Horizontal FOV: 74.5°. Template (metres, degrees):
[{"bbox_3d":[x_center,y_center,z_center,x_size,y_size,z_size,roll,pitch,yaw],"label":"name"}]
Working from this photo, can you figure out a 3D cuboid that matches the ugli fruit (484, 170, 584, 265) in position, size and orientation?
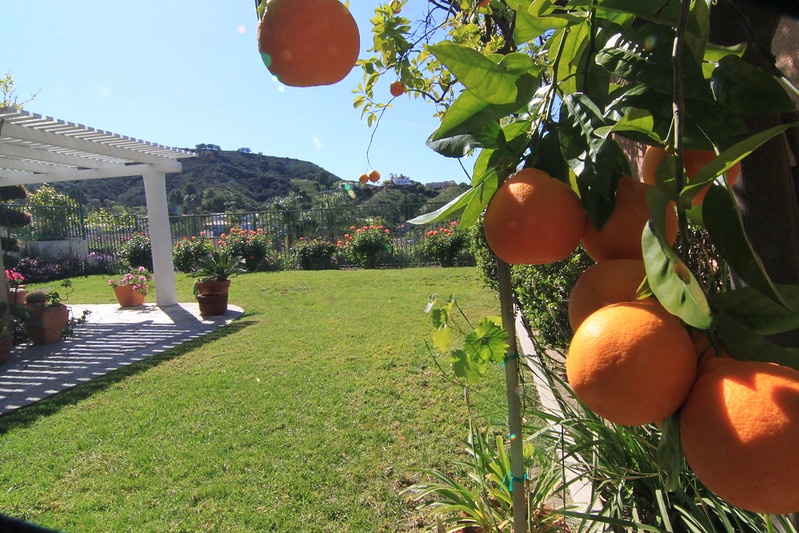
[{"bbox_3d":[0.234,-0.078,0.980,0.157,0.162,0.159,-3,-11,-34],"label":"ugli fruit"}]

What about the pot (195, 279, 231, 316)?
[{"bbox_3d":[-2.887,0.521,8.133,0.516,0.571,0.496,-2,-7,0],"label":"pot"}]

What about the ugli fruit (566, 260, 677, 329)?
[{"bbox_3d":[0.385,0.041,0.946,0.110,0.139,0.117,-2,-26,-14],"label":"ugli fruit"}]

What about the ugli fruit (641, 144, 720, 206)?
[{"bbox_3d":[0.488,-0.166,0.938,0.111,0.089,0.117,-6,7,-41],"label":"ugli fruit"}]

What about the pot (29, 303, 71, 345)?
[{"bbox_3d":[-4.550,0.733,6.894,0.439,0.637,0.518,-2,-3,36],"label":"pot"}]

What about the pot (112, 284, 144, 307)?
[{"bbox_3d":[-4.778,0.547,9.304,0.375,0.378,0.481,1,-1,-5],"label":"pot"}]
